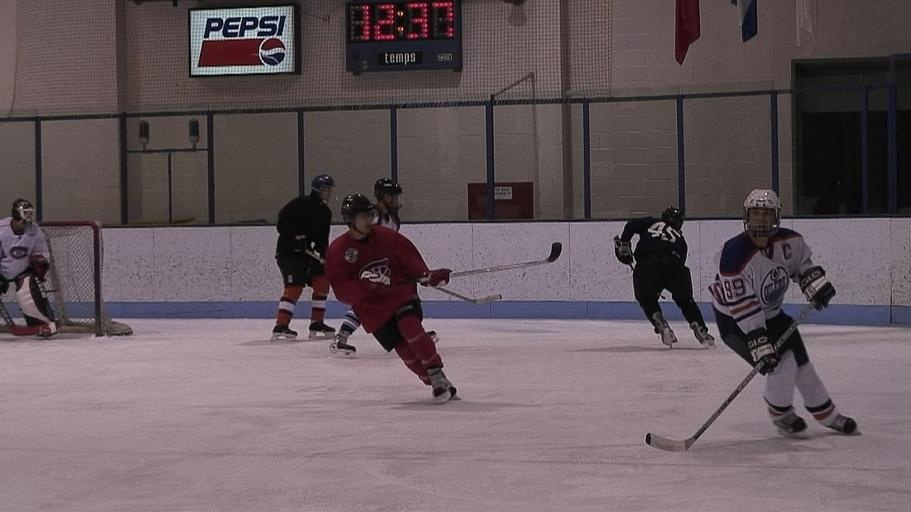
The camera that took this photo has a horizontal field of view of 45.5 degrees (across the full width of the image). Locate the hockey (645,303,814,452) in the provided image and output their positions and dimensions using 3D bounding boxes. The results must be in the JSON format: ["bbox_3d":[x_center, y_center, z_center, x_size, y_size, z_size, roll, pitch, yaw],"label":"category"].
[{"bbox_3d":[2.756,1.253,10.861,1.641,0.229,0.186,-47,-15,-5],"label":"hockey"}]

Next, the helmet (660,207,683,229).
[{"bbox_3d":[2.670,-0.482,13.502,0.333,0.311,0.253,-5,12,-38],"label":"helmet"}]

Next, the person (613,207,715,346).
[{"bbox_3d":[2.585,0.213,13.441,1.114,1.999,0.693,7,-37,-5],"label":"person"}]

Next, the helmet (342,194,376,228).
[{"bbox_3d":[-1.005,-0.473,11.267,0.340,0.289,0.279,-10,4,6],"label":"helmet"}]

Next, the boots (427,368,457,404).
[{"bbox_3d":[-0.127,1.325,11.035,0.173,0.308,0.468,-17,-2,15],"label":"boots"}]

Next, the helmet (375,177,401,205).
[{"bbox_3d":[-0.767,-0.806,13.244,0.350,0.326,0.276,-9,15,-12],"label":"helmet"}]

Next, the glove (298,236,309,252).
[{"bbox_3d":[-1.963,-0.165,14.004,0.138,0.206,0.050,-3,15,-9],"label":"glove"}]

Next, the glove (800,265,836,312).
[{"bbox_3d":[3.423,0.324,10.329,0.310,0.414,0.198,-42,4,-12],"label":"glove"}]

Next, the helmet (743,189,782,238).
[{"bbox_3d":[2.925,-0.412,10.288,0.359,0.433,0.454,6,1,7],"label":"helmet"}]

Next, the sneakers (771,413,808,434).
[{"bbox_3d":[3.148,1.549,10.223,0.292,0.193,0.162,-4,34,40],"label":"sneakers"}]
